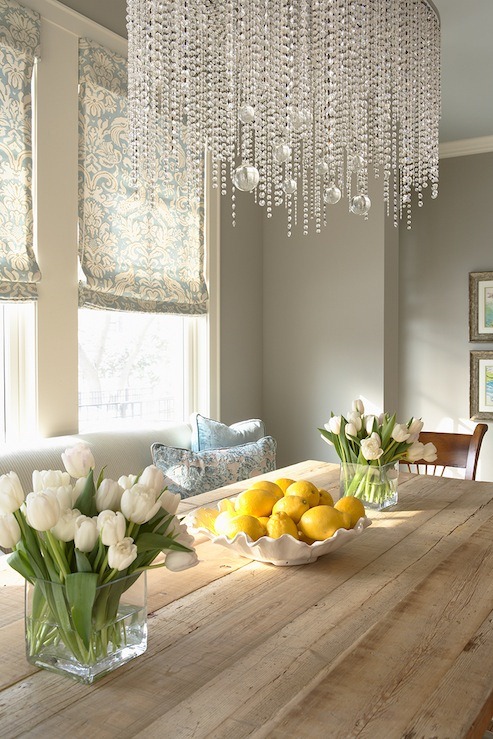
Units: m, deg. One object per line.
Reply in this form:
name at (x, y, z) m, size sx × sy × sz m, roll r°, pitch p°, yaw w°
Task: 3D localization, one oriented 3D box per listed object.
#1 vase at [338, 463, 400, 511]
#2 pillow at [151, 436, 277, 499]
vase at (0.359, 0.333, 1.721) m, size 0.143 × 0.141 × 0.140 m, roll 0°, pitch 1°, yaw -34°
pillow at (-0.123, 0.366, 2.152) m, size 0.093 × 0.202 × 0.362 m, roll -4°, pitch 0°, yaw 43°
